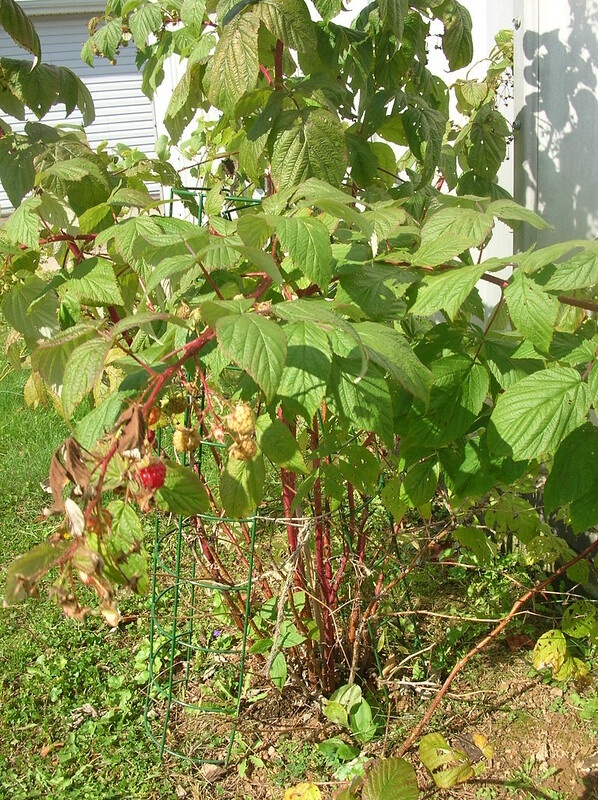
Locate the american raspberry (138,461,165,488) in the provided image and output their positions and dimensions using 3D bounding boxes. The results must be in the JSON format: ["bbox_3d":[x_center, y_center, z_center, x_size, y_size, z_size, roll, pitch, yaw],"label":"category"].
[{"bbox_3d":[-0.153,0.079,0.701,0.019,0.024,0.027,-1,-28,8],"label":"american raspberry"}]
